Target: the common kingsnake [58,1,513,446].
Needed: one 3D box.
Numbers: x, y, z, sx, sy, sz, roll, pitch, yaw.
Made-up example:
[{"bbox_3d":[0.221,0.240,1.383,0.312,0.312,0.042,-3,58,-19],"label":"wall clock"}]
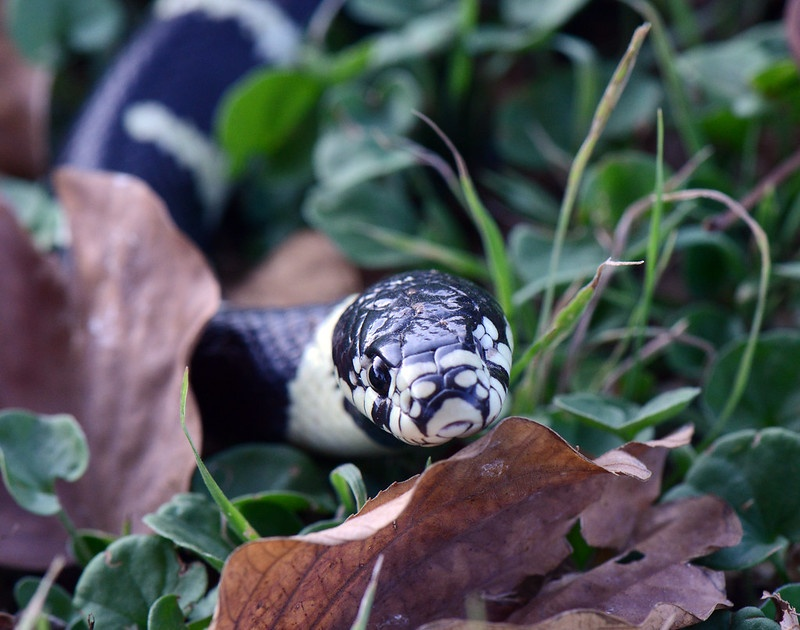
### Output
[{"bbox_3d":[-0.197,-0.116,1.423,0.472,0.352,0.977,-21,46,-15],"label":"common kingsnake"}]
